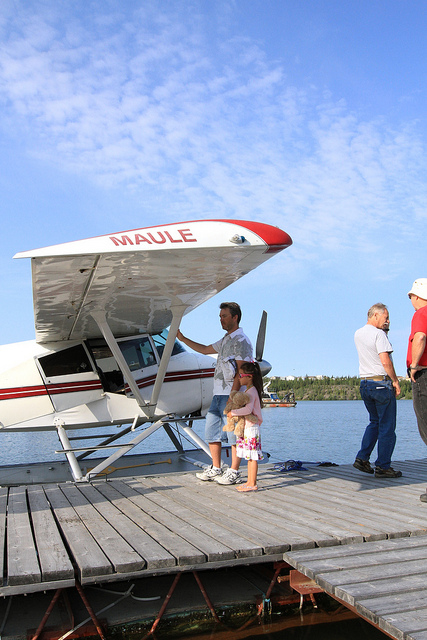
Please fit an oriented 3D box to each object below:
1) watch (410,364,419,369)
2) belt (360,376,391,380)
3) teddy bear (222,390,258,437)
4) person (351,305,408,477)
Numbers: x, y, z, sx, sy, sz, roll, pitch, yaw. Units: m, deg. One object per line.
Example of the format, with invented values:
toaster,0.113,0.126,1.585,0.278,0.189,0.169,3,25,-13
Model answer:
watch,1.587,0.370,4.132,0.044,0.014,0.042,-8,19,-28
belt,1.579,0.563,5.090,0.076,0.032,0.297,4,-7,-40
teddy bear,0.231,0.847,4.739,0.207,0.396,0.317,4,-7,-39
person,1.628,0.719,5.215,0.396,1.696,0.797,-2,-6,15
